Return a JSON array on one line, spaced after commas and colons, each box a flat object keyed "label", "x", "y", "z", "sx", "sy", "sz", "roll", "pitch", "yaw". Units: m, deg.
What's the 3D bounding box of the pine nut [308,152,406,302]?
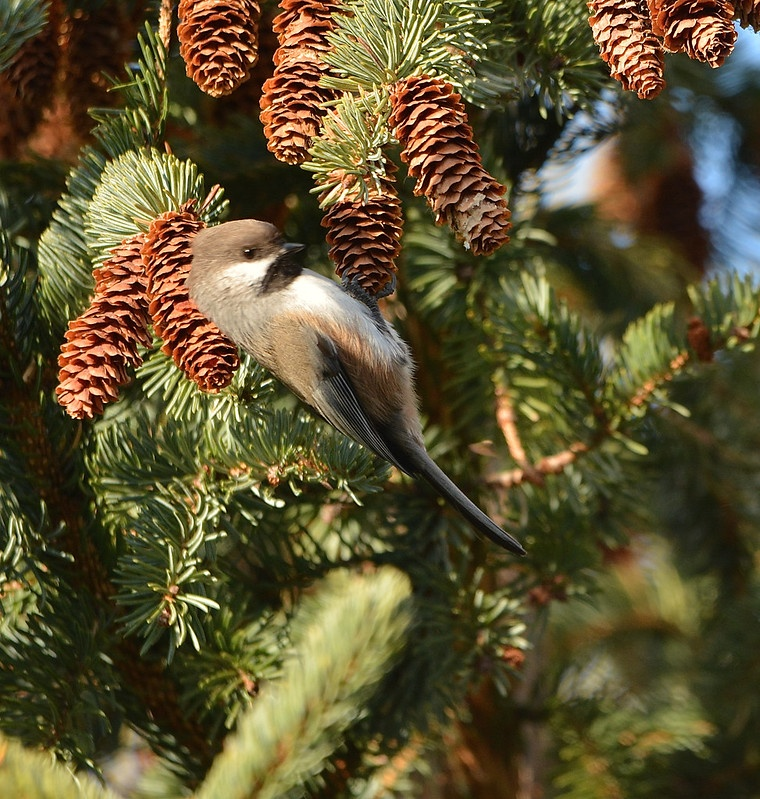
[{"label": "pine nut", "x": -0.024, "y": -0.350, "z": 2.411, "sx": 0.248, "sy": 0.258, "sz": 0.193, "roll": 8, "pitch": 14, "yaw": 38}]

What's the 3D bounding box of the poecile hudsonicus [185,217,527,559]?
[{"label": "poecile hudsonicus", "x": 0.091, "y": -0.010, "z": 2.824, "sx": 0.348, "sy": 1.180, "sz": 0.493, "roll": -40, "pitch": 28, "yaw": -26}]
